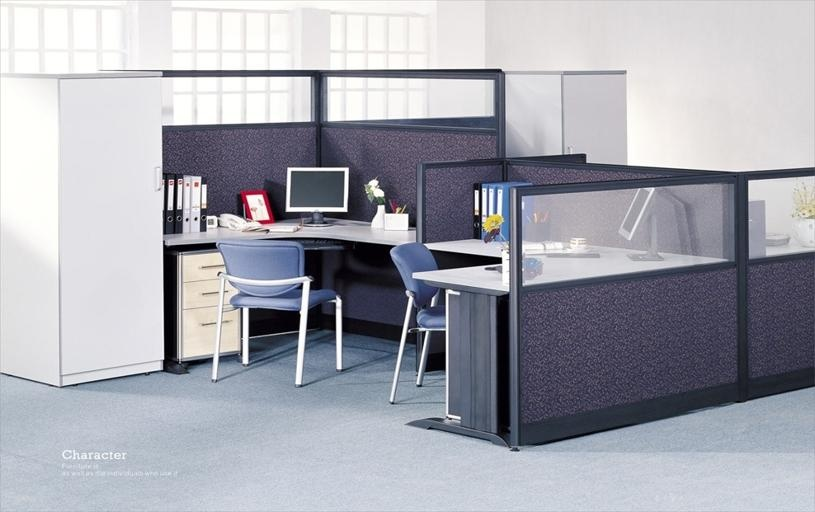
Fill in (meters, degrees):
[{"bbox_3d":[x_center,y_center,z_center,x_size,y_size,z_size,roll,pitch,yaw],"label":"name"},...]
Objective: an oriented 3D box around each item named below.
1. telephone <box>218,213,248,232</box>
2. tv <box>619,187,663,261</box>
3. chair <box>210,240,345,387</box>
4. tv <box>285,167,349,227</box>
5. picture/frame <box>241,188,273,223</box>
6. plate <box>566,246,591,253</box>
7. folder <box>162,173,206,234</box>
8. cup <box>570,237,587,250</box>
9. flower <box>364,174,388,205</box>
[{"bbox_3d":[-1.506,-0.295,5.665,0.216,0.056,0.146,14,17,30],"label":"telephone"},{"bbox_3d":[1.437,-0.190,4.103,0.293,0.449,0.089,-5,9,-25],"label":"tv"},{"bbox_3d":[-0.976,0.384,5.022,0.976,0.923,0.859,1,-1,-3],"label":"chair"},{"bbox_3d":[-0.836,-0.548,5.995,0.675,0.520,0.262,0,-2,-4],"label":"tv"},{"bbox_3d":[-1.379,-0.445,5.956,0.338,0.331,0.215,-8,10,-36],"label":"picture/frame"},{"bbox_3d":[1.011,-0.040,3.973,0.074,0.015,0.075,8,14,29],"label":"plate"},{"bbox_3d":[-1.864,-0.487,5.689,0.475,0.532,0.611,-2,8,-27],"label":"folder"},{"bbox_3d":[1.018,-0.074,3.988,0.089,0.052,0.083,0,13,0],"label":"cup"},{"bbox_3d":[-0.297,-0.582,5.990,0.185,0.246,0.392,-4,9,-20],"label":"flower"}]
